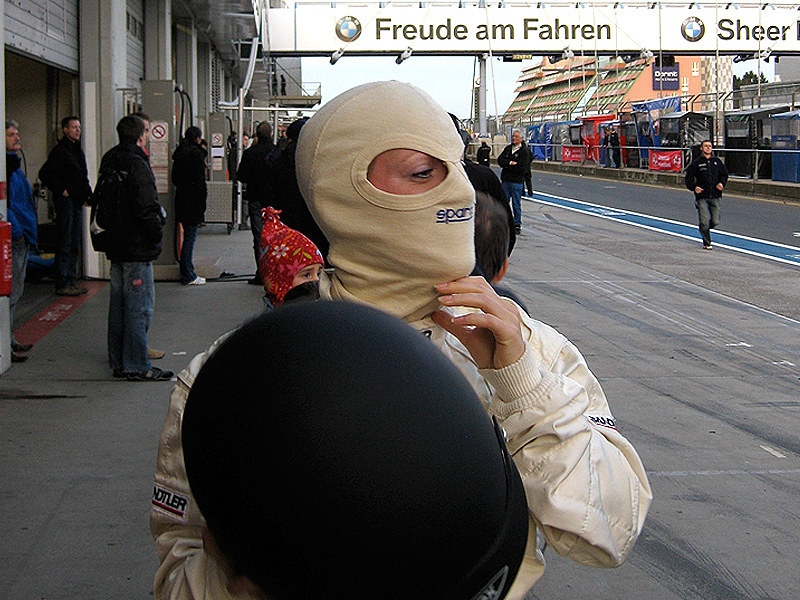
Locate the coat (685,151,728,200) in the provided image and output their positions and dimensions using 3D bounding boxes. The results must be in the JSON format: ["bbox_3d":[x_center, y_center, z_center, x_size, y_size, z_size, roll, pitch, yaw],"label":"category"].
[{"bbox_3d":[7.011,-2.778,14.957,0.971,1.018,0.540,-2,7,4],"label":"coat"}]

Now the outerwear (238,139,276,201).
[{"bbox_3d":[-2.520,-2.310,11.887,0.865,1.071,0.654,-11,18,-42],"label":"outerwear"}]

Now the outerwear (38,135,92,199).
[{"bbox_3d":[-4.561,-1.774,9.024,0.396,0.785,0.820,6,6,15],"label":"outerwear"}]

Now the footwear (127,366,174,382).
[{"bbox_3d":[-2.384,0.717,6.231,0.405,0.139,0.162,-3,4,-10],"label":"footwear"}]

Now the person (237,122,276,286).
[{"bbox_3d":[-2.621,-1.737,11.950,0.759,2.829,0.905,10,14,44],"label":"person"}]

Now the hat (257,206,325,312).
[{"bbox_3d":[-0.475,-0.197,2.851,0.268,0.419,0.303,-3,4,-19],"label":"hat"}]
